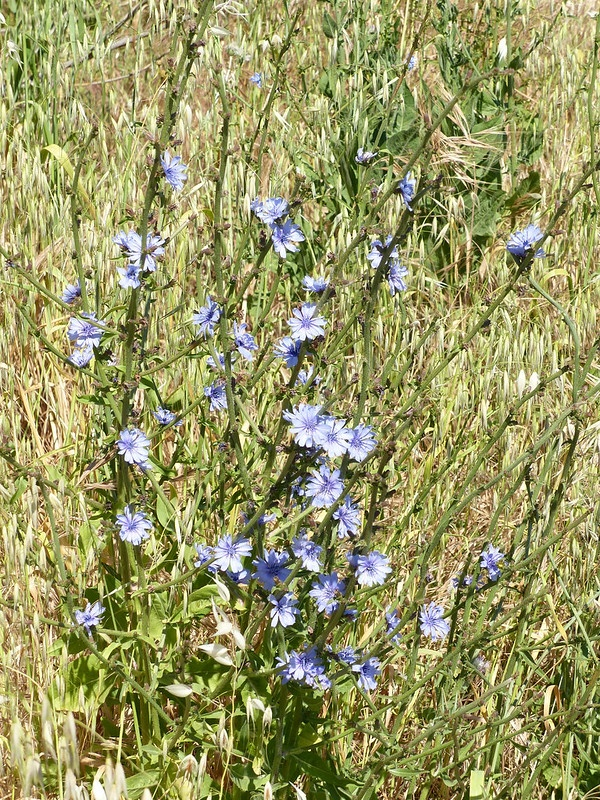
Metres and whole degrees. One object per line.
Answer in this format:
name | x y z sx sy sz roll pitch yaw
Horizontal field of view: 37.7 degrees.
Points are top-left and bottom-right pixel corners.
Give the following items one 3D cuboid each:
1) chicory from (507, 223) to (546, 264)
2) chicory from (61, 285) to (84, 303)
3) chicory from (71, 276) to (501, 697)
chicory | 0.450 -0.316 1.733 0.058 0.036 0.091 -2 69 31
chicory | -0.509 -0.242 1.976 0.036 0.054 0.020 11 17 15
chicory | -0.027 0.233 1.872 0.568 0.442 1.050 9 87 -5
